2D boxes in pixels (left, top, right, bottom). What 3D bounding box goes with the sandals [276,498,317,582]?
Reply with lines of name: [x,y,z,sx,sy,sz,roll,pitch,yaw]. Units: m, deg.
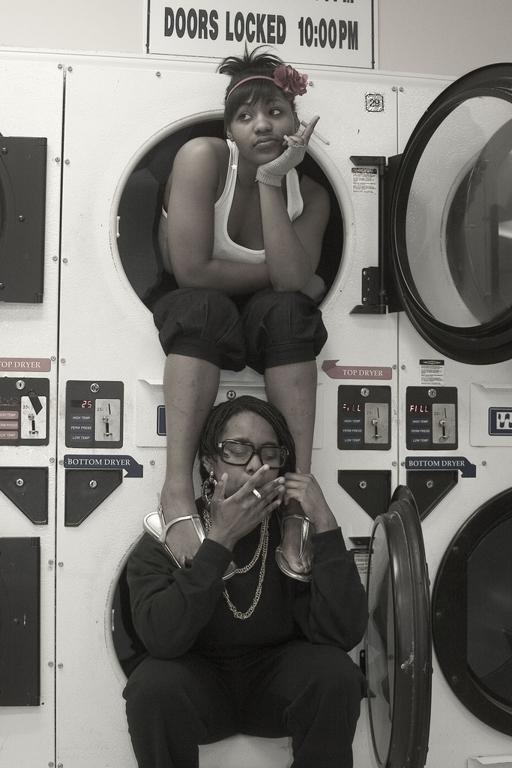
sandals: [0.083,0.332,1.616,0.059,0.187,0.064,1,-31,-1]

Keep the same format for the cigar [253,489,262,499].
cigar: [0.001,0.218,1.534,0.015,0.018,0.023,1,7,12]
